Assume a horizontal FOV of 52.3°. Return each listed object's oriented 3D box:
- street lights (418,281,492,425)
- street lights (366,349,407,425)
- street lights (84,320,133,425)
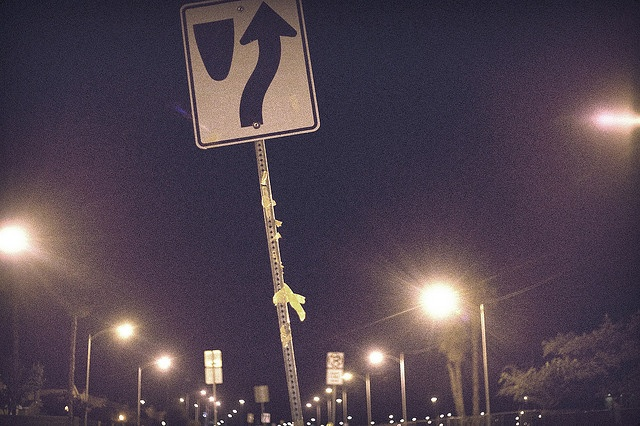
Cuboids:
[{"bbox_3d":[1.396,1.481,6.694,0.543,1.987,0.718,-4,-18,0],"label":"street lights"},{"bbox_3d":[0.676,1.759,6.659,0.426,0.651,0.369,-5,-28,4],"label":"street lights"},{"bbox_3d":[-2.207,1.589,6.574,0.339,0.862,0.697,21,-37,-37],"label":"street lights"}]
